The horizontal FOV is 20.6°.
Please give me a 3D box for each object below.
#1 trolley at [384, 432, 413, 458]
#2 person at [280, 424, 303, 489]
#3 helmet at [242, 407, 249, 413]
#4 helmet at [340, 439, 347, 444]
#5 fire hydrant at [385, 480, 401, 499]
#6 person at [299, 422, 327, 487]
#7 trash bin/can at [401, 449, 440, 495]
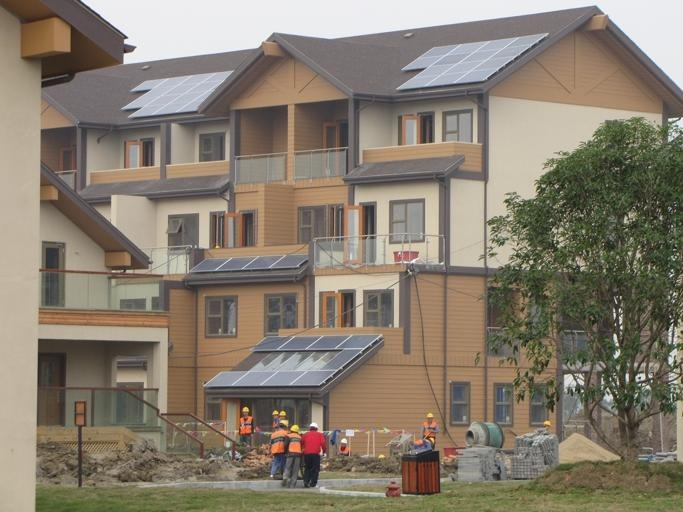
[{"bbox_3d":[2.043,6.323,63.563,0.877,1.294,0.884,-4,-9,44],"label":"trolley"},{"bbox_3d":[-1.427,5.895,55.130,0.573,1.781,0.869,3,-12,-19],"label":"person"},{"bbox_3d":[-3.389,5.384,65.761,0.195,0.112,0.292,-1,-9,-3],"label":"helmet"},{"bbox_3d":[0.060,6.362,64.684,0.193,0.156,0.290,1,-13,5],"label":"helmet"},{"bbox_3d":[1.427,6.303,50.738,0.449,0.505,0.470,1,-6,-11],"label":"fire hydrant"},{"bbox_3d":[-0.839,5.898,55.554,0.715,1.925,1.515,-1,-12,-1],"label":"person"},{"bbox_3d":[2.245,6.001,52.001,1.024,1.596,1.050,8,-12,-33],"label":"trash bin/can"}]
